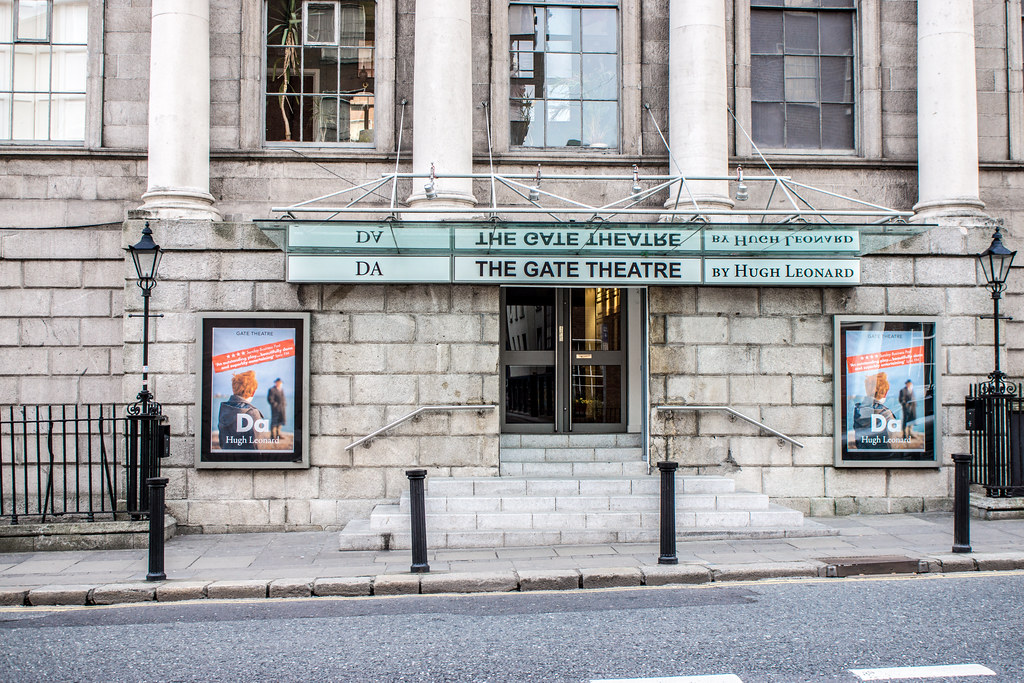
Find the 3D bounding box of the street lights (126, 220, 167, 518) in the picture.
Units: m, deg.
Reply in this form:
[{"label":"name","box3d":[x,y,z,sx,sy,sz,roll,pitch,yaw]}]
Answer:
[{"label":"street lights","box3d":[-6.368,0.465,30.070,0.711,5.128,0.839,-1,-2,-11]}]
